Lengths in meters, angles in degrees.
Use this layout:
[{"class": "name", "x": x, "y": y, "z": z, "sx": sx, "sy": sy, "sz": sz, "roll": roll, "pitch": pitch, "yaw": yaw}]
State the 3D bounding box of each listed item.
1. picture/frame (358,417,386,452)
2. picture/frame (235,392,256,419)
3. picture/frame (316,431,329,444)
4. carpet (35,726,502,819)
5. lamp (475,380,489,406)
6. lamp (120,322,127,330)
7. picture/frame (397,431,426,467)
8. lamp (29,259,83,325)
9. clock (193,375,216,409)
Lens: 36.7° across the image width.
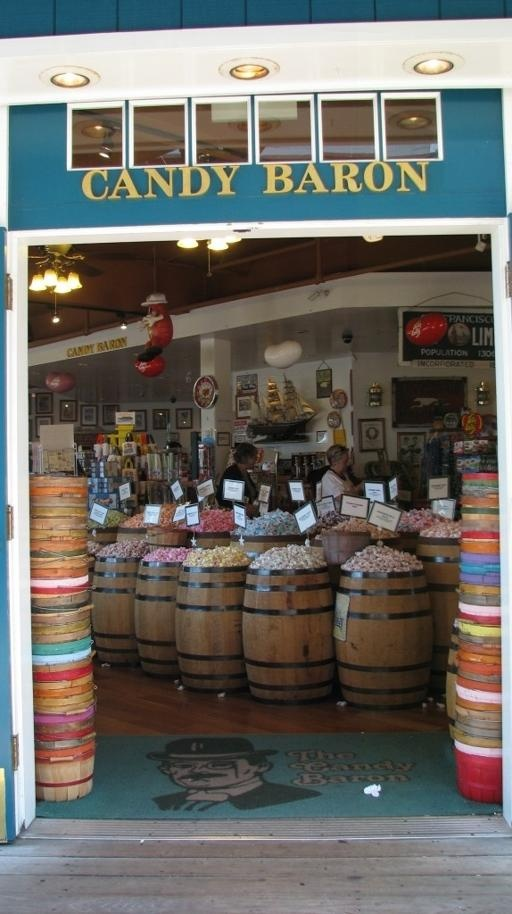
[{"class": "picture/frame", "x": 1.451, "y": -0.294, "z": 9.607, "sx": 0.399, "sy": 0.516, "sz": 0.053, "roll": 0, "pitch": 2, "yaw": 3}, {"class": "picture/frame", "x": -0.143, "y": -0.772, "z": 11.495, "sx": 0.065, "sy": 0.477, "sz": 0.466, "roll": 8, "pitch": -5, "yaw": -38}, {"class": "picture/frame", "x": 0.895, "y": -0.278, "z": 10.409, "sx": 0.045, "sy": 0.168, "sz": 0.167, "roll": -7, "pitch": 10, "yaw": -43}, {"class": "carpet", "x": 0.047, "y": 1.140, "z": 2.780, "sx": 1.469, "sy": 0.132, "sz": 0.805, "roll": -1, "pitch": 5, "yaw": 2}, {"class": "lamp", "x": 2.691, "y": -0.762, "z": 9.151, "sx": 0.150, "sy": 0.296, "sz": 0.144, "roll": -1, "pitch": 4, "yaw": 11}, {"class": "lamp", "x": -1.699, "y": -1.692, "z": 9.965, "sx": 0.101, "sy": 0.121, "sz": 0.102, "roll": 0, "pitch": -1, "yaw": -18}, {"class": "picture/frame", "x": 1.935, "y": -0.121, "z": 9.614, "sx": 0.412, "sy": 0.492, "sz": 0.066, "roll": 0, "pitch": 1, "yaw": -4}, {"class": "lamp", "x": -1.894, "y": -1.545, "z": 7.235, "sx": 0.415, "sy": 0.549, "sz": 0.509, "roll": -1, "pitch": 10, "yaw": -4}, {"class": "clock", "x": -0.621, "y": -0.807, "z": 9.576, "sx": 0.168, "sy": 0.422, "sz": 0.491, "roll": -3, "pitch": 5, "yaw": -27}]
